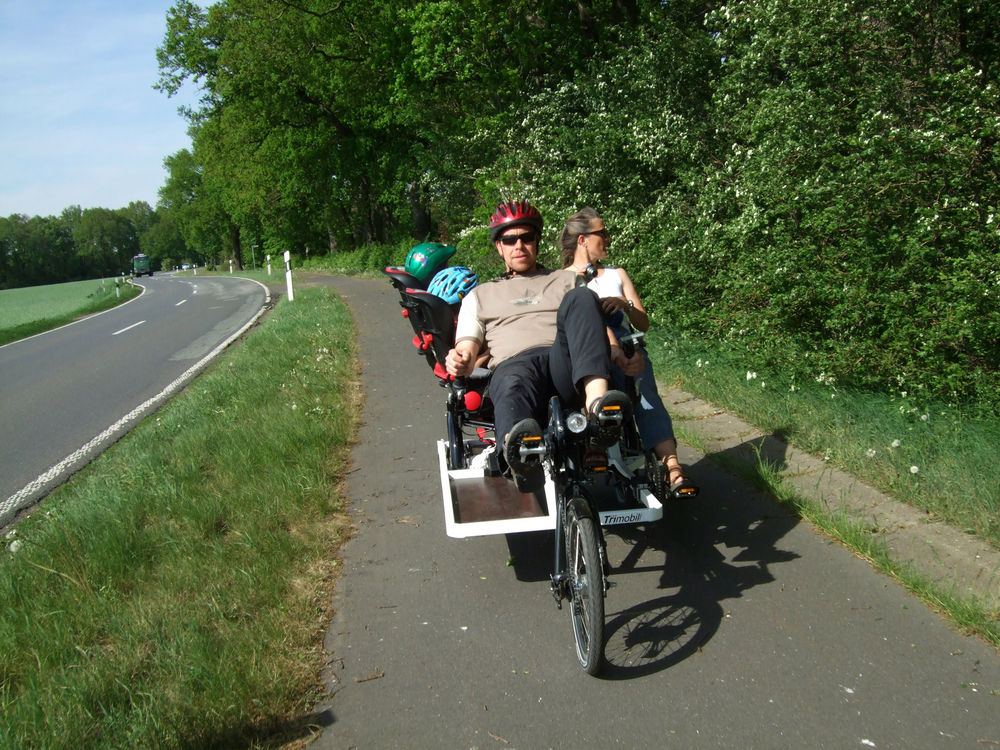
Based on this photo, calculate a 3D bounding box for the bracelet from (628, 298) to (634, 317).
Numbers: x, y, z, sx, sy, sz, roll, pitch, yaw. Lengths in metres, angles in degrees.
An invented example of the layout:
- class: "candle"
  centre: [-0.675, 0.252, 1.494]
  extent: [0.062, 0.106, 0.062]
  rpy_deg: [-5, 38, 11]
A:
- class: "bracelet"
  centre: [0.898, -0.475, 5.919]
  extent: [0.020, 0.082, 0.073]
  rpy_deg: [-4, 0, -14]

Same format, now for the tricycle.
- class: "tricycle"
  centre: [0.278, 0.740, 5.636]
  extent: [1.133, 1.403, 2.327]
  rpy_deg: [-4, 7, -4]

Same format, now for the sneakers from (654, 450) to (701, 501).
- class: "sneakers"
  centre: [1.118, 0.688, 5.666]
  extent: [0.157, 0.226, 0.521]
  rpy_deg: [-6, 0, -5]

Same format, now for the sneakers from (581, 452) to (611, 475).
- class: "sneakers"
  centre: [0.544, 0.504, 4.821]
  extent: [0.087, 0.133, 0.127]
  rpy_deg: [0, -3, 3]
